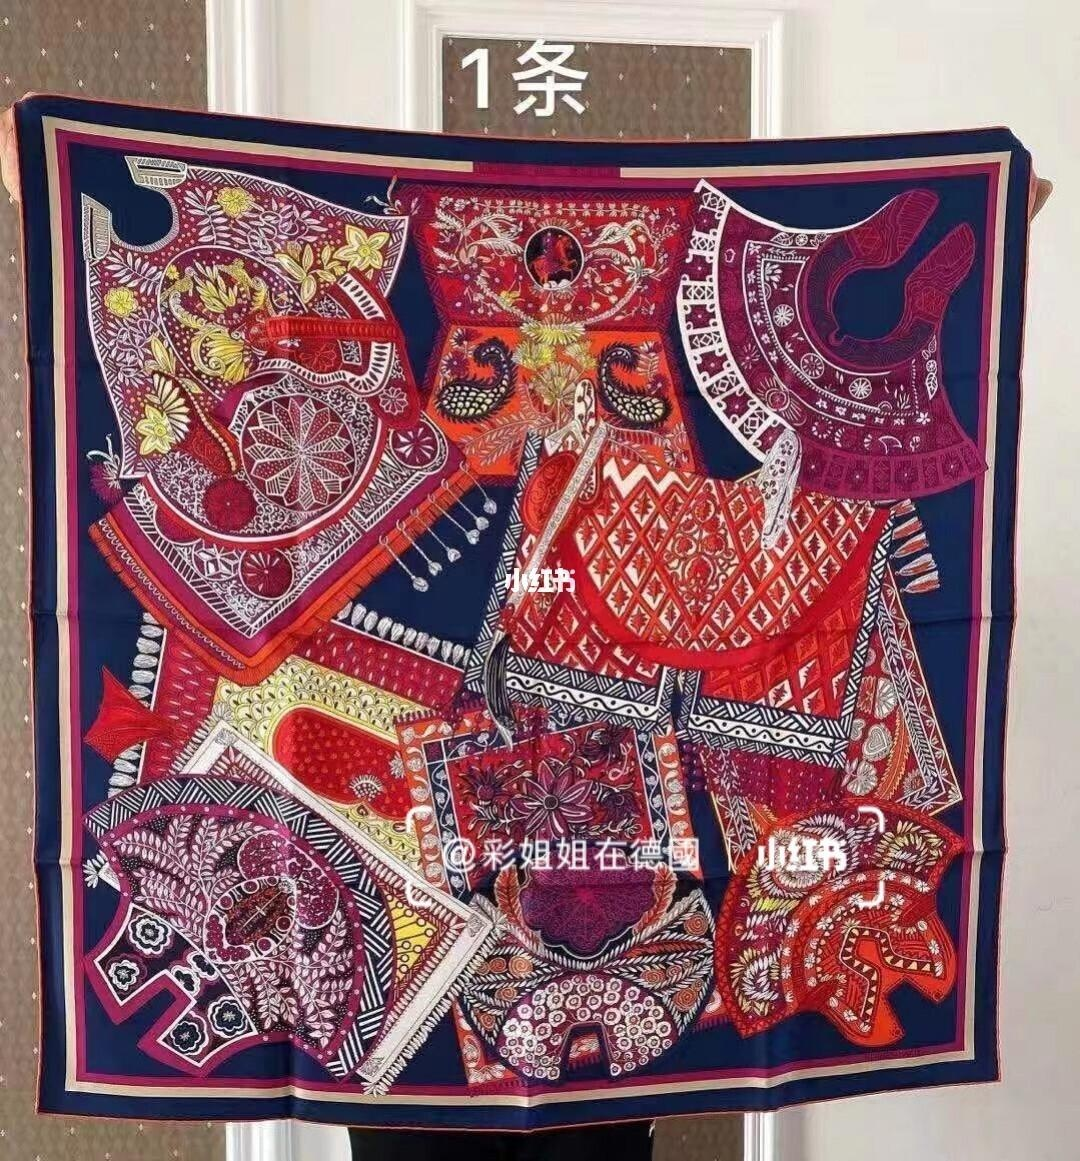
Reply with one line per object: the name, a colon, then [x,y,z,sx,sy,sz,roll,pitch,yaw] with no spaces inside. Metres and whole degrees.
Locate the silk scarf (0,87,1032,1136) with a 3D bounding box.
silk scarf: [-0.038,0.053,4.389,1.380,0.071,1.496,0,88,-10]
